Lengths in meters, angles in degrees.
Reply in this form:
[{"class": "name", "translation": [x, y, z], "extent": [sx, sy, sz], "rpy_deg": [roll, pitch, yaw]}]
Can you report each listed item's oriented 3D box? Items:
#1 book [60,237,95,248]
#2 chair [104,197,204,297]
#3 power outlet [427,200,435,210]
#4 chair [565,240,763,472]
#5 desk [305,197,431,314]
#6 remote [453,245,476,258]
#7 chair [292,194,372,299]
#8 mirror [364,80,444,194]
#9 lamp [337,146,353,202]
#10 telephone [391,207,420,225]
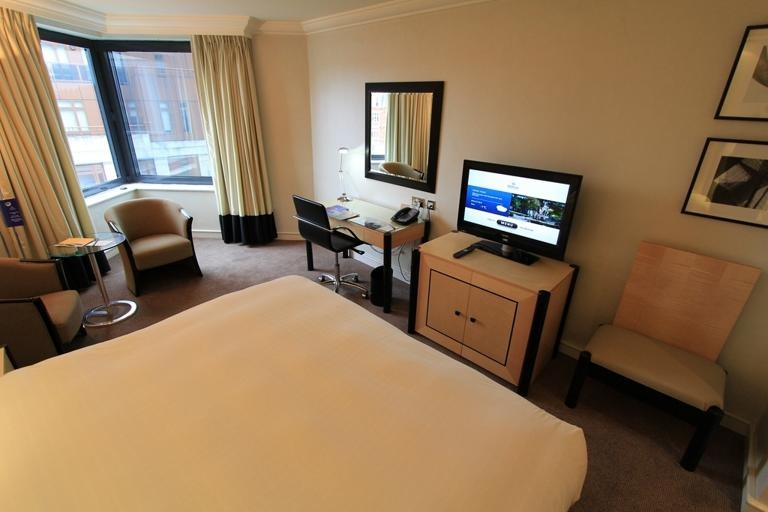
[{"class": "book", "translation": [-2.914, -0.130, 4.638], "extent": [0.280, 0.058, 0.137], "rpy_deg": [1, 19, -3]}, {"class": "chair", "translation": [-2.545, -0.153, 5.361], "extent": [0.795, 0.862, 0.799], "rpy_deg": [-19, 26, -37]}, {"class": "power outlet", "translation": [0.475, -0.531, 5.044], "extent": [0.080, 0.074, 0.042], "rpy_deg": [22, 38, 33]}, {"class": "chair", "translation": [2.251, 0.807, 3.834], "extent": [1.111, 1.462, 0.852], "rpy_deg": [24, 44, 31]}, {"class": "desk", "translation": [-0.236, -0.087, 5.393], "extent": [1.270, 0.817, 0.578], "rpy_deg": [21, 31, 37]}, {"class": "remote", "translation": [0.708, -0.044, 4.358], "extent": [0.290, 0.049, 0.083], "rpy_deg": [-22, 35, -33]}, {"class": "chair", "translation": [-0.533, -0.094, 5.235], "extent": [0.732, 1.079, 0.718], "rpy_deg": [-21, 37, -34]}, {"class": "mirror", "translation": [0.225, -1.258, 5.028], "extent": [1.029, 1.159, 0.112], "rpy_deg": [20, 34, 28]}, {"class": "lamp", "translation": [-0.483, -0.967, 5.728], "extent": [0.150, 0.596, 0.399], "rpy_deg": [-1, 21, -6]}, {"class": "telephone", "translation": [0.225, -0.417, 5.021], "extent": [0.180, 0.094, 0.243], "rpy_deg": [14, 30, 33]}]
